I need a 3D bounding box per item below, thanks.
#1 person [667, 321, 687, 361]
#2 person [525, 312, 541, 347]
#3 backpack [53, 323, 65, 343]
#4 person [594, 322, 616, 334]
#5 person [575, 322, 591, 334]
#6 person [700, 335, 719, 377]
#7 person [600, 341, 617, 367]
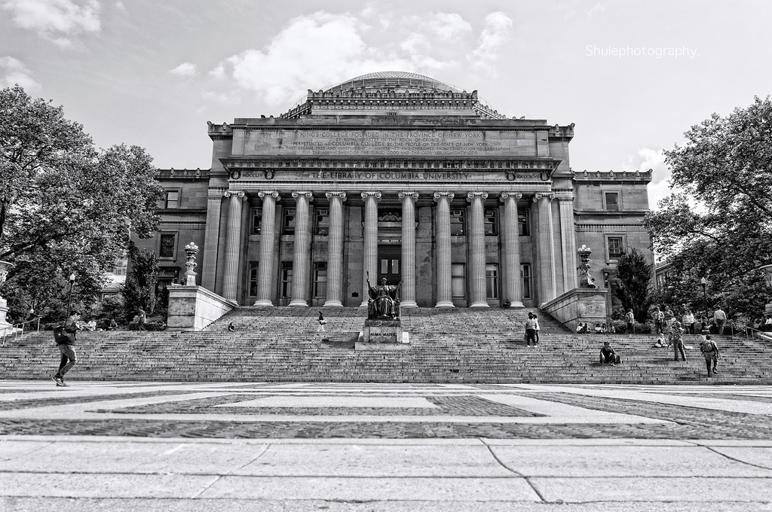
[{"bbox_3d":[11.212,3.217,22.858,0.563,1.517,2.232,-3,-6,25],"label":"person"},{"bbox_3d":[6.565,3.231,26.663,0.614,1.414,2.059,-1,-6,15],"label":"person"},{"bbox_3d":[-8.170,1.970,14.904,0.239,0.471,0.256,-4,-7,36],"label":"backpack"},{"bbox_3d":[11.455,3.668,31.156,0.751,0.420,0.962,1,-9,10],"label":"person"},{"bbox_3d":[10.270,3.707,30.977,0.727,0.709,0.498,-1,-7,13],"label":"person"},{"bbox_3d":[11.124,3.392,20.477,0.440,1.395,1.603,-3,-7,28],"label":"person"},{"bbox_3d":[8.477,3.736,22.722,0.776,0.873,0.761,-1,-17,0],"label":"person"}]
